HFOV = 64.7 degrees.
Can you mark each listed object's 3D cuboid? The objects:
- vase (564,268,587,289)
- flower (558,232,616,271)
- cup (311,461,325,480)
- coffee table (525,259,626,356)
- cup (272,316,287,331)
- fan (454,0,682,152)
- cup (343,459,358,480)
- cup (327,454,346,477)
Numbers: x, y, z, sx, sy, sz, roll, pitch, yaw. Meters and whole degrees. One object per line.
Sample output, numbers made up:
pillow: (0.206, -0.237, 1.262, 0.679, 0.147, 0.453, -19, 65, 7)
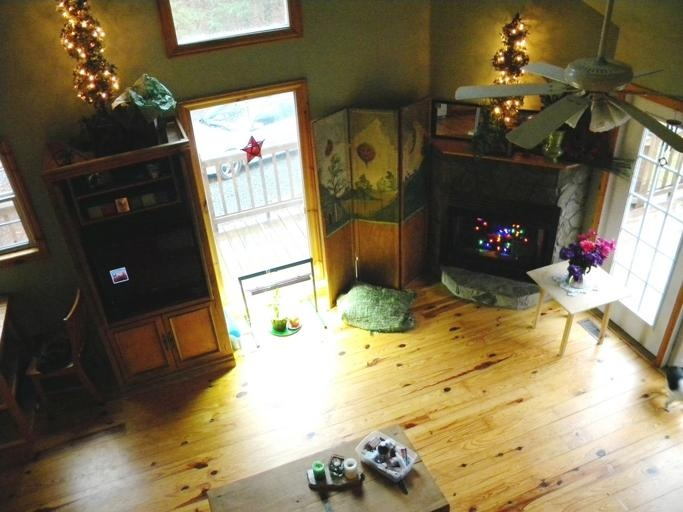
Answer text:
vase: (2.474, 0.266, 5.720, 0.205, 0.225, 0.201, -6, 46, 7)
flower: (2.591, 0.006, 5.683, 0.397, 0.491, 0.361, -17, 31, -21)
cup: (-0.181, 1.680, 4.285, 0.120, 0.133, 0.118, -5, 30, 3)
coffee table: (2.565, 0.569, 5.969, 0.985, 0.830, 0.919, 11, 32, 27)
cup: (-0.724, 0.809, 6.399, 0.164, 0.109, 0.157, -1, 31, 0)
fan: (2.112, -1.650, 4.884, 1.520, 1.063, 1.507, -35, 57, -21)
cup: (0.069, 1.678, 4.241, 0.089, 0.095, 0.089, 0, 38, 0)
cup: (-0.041, 1.660, 4.293, 0.121, 0.117, 0.140, -15, 33, -19)
